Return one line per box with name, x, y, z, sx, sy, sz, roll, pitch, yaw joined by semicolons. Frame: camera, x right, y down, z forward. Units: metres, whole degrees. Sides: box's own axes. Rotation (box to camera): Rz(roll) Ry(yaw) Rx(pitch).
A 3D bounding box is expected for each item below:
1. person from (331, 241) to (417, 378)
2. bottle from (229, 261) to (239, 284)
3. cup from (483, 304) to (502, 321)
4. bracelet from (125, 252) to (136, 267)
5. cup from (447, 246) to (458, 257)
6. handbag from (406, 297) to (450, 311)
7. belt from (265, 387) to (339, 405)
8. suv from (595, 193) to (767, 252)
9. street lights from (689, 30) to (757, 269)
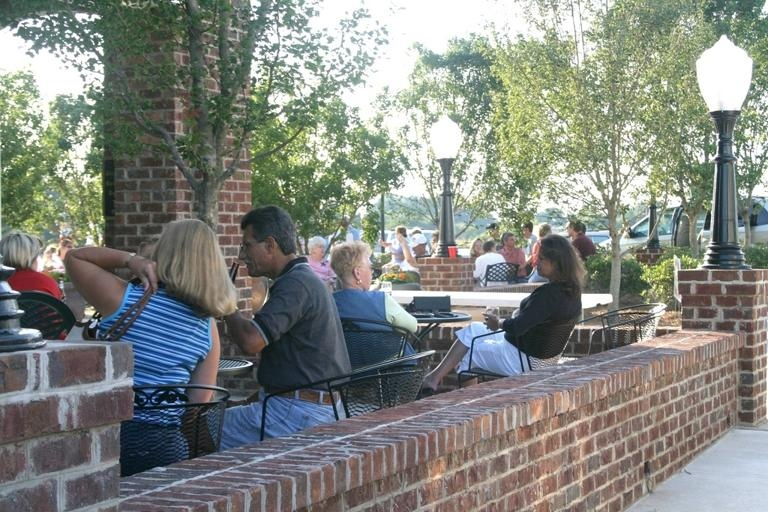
person;-0.094;0.432;12.752;0.763;1.244;1.004;-14;15;-35
bottle;-1.482;0.153;12.833;0.059;0.234;0.221;7;-3;-3
cup;1.294;0.671;15.543;0.184;0.210;0.361;-2;-5;8
bracelet;-2.137;0.029;10.920;0.069;0.107;0.116;13;-41;10
cup;1.061;-0.064;19.968;0.141;0.176;0.149;2;5;0
handbag;0.510;0.524;14.244;0.266;0.134;0.201;1;-15;-2
belt;-0.688;1.221;11.464;0.357;0.120;0.289;-5;-9;5
suv;7.339;-0.649;30.298;1.527;1.254;3.321;0;2;-44
street lights;3.689;-1.133;14.105;0.556;2.573;0.398;0;-1;14
